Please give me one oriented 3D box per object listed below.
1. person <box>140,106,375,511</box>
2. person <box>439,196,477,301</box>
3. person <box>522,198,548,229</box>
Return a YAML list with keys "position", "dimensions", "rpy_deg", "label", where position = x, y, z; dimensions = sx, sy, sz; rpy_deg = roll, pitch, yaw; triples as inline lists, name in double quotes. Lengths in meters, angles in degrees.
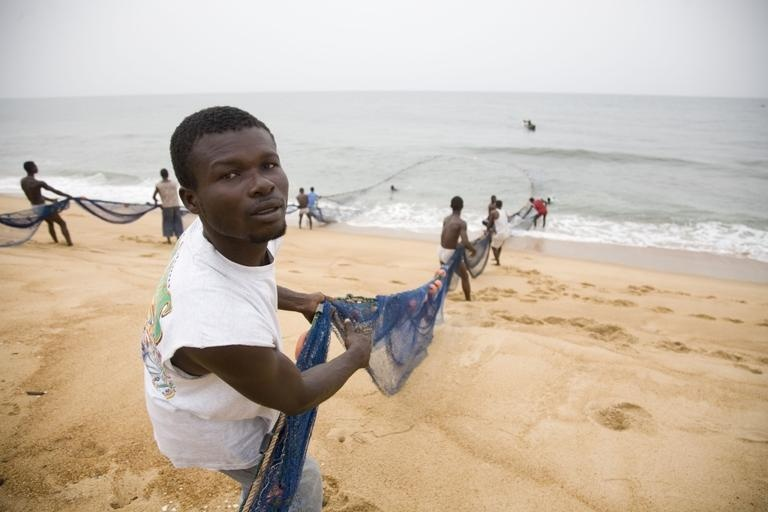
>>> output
- position: [-0.893, 0.353, 3.218]
  dimensions: [1.248, 2.486, 0.655]
  rpy_deg: [3, 14, -6]
  label: "person"
- position: [1.326, -0.143, 9.171]
  dimensions: [0.658, 1.732, 1.464]
  rpy_deg: [6, 13, 6]
  label: "person"
- position: [4.538, -1.336, 15.256]
  dimensions: [0.798, 0.342, 1.175]
  rpy_deg: [10, 23, 11]
  label: "person"
